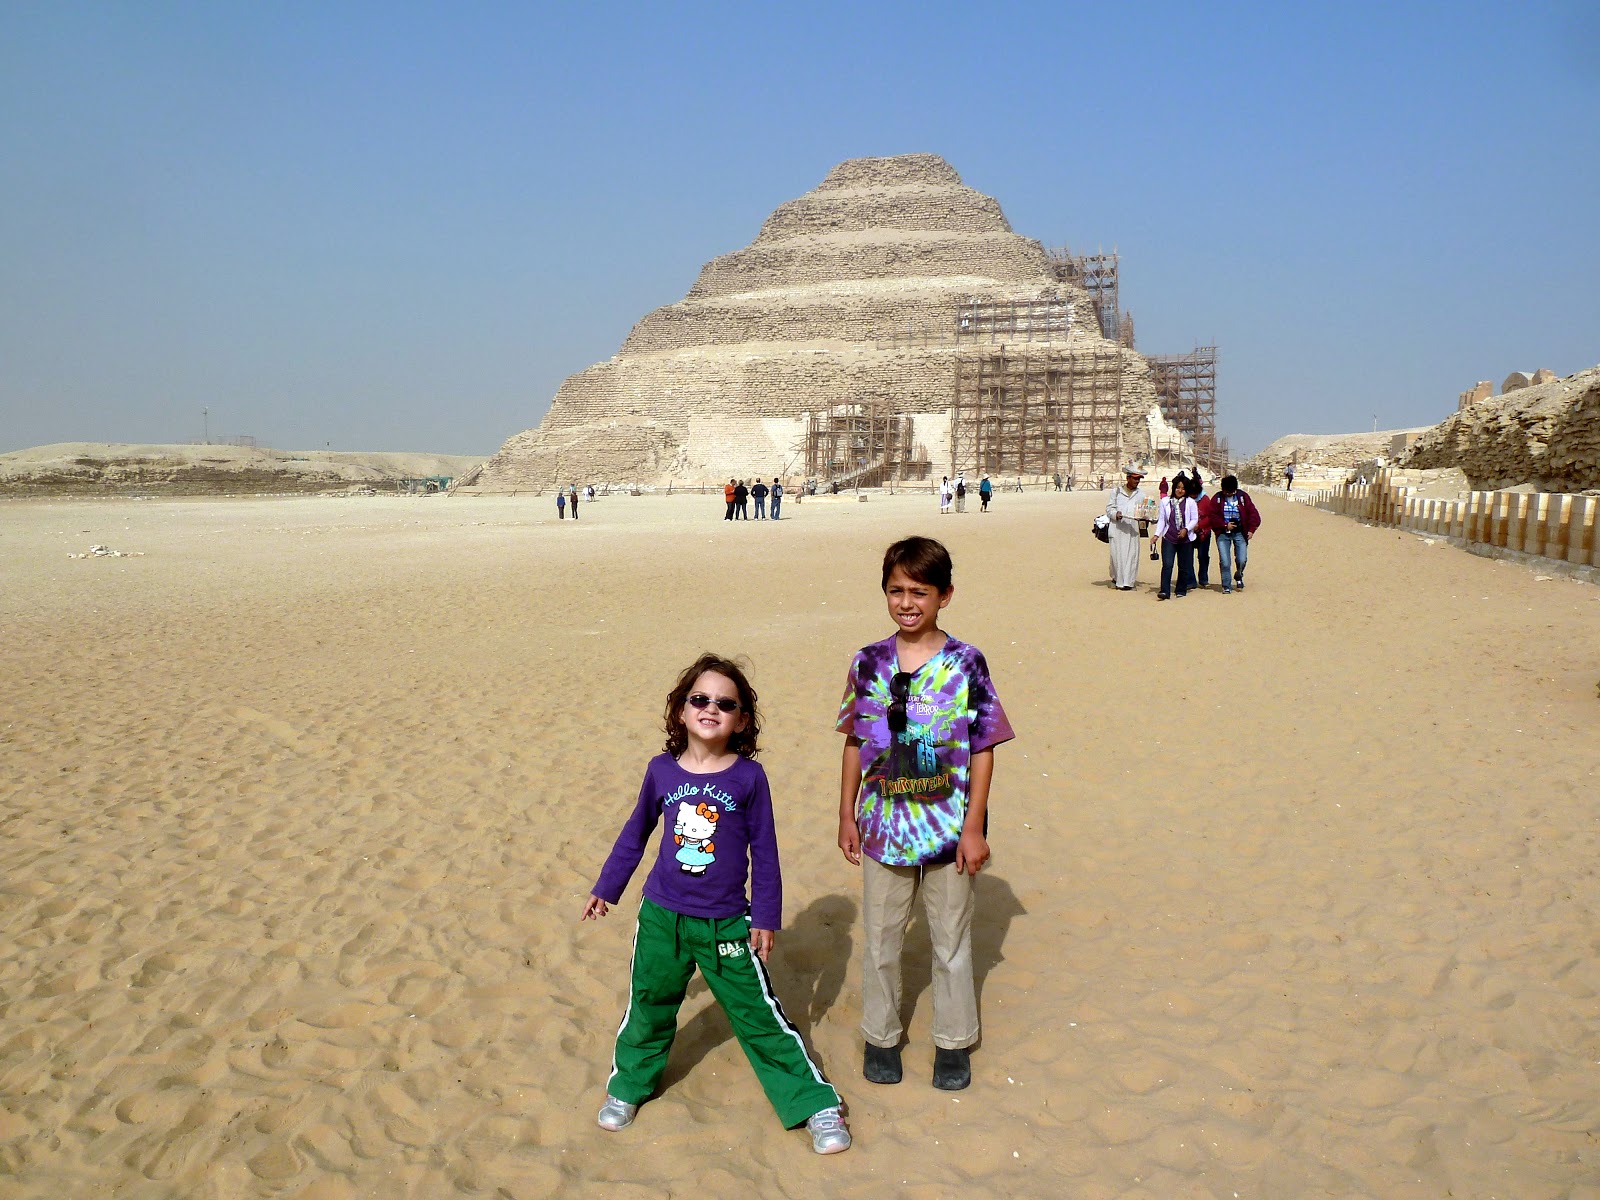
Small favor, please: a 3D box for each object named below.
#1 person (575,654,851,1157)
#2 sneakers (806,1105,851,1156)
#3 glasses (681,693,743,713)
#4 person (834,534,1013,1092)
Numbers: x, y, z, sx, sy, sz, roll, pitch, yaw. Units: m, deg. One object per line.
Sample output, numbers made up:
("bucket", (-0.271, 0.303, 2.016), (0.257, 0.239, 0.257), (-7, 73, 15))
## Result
("person", (-0.375, 1.349, 5.463), (1.193, 2.201, 0.466), (1, 8, 12))
("sneakers", (0.136, 2.382, 5.364), (0.201, 0.164, 0.198), (-1, 7, -5))
("glasses", (-0.388, 0.456, 5.347), (0.227, 0.090, 0.079), (-1, 7, -3))
("person", (0.578, 1.019, 5.468), (0.761, 2.629, 0.297), (0, 8, 2))
